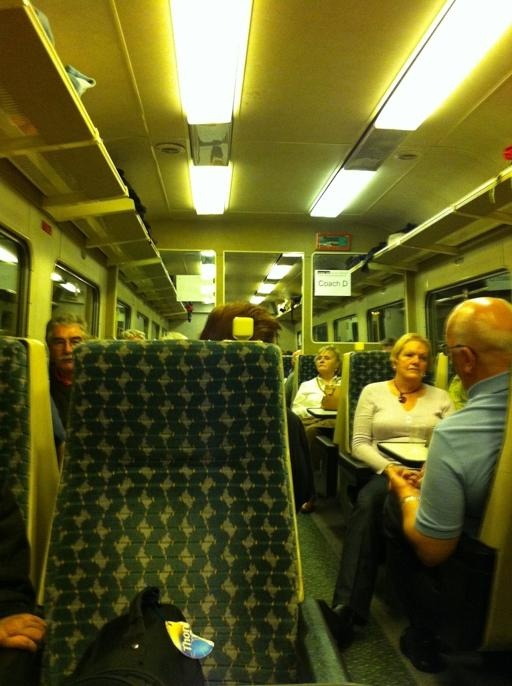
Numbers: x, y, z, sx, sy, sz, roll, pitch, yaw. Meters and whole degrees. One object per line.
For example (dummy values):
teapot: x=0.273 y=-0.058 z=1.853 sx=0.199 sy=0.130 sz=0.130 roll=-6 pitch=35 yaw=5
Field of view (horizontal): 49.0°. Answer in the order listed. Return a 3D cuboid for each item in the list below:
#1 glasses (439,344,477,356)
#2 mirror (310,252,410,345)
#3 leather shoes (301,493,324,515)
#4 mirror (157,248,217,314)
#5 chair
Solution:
glasses: x=0.867 y=0.032 z=2.416 sx=0.130 sy=0.040 sz=0.125 roll=-1 pitch=2 yaw=-8
mirror: x=1.664 y=-0.744 z=9.157 sx=0.131 sy=1.936 sz=2.039 roll=-5 pitch=-3 yaw=-36
leather shoes: x=0.515 y=1.347 z=4.757 sx=0.123 sy=0.152 sz=0.378 roll=-1 pitch=1 yaw=19
mirror: x=-1.170 y=-1.257 z=10.004 sx=0.800 sy=1.459 sz=0.350 roll=-6 pitch=34 yaw=-10
chair: x=-0.002 y=0.540 z=2.050 sx=0.931 sy=1.214 sz=1.044 roll=0 pitch=-10 yaw=-3
